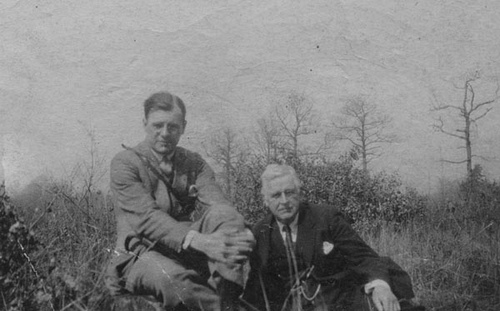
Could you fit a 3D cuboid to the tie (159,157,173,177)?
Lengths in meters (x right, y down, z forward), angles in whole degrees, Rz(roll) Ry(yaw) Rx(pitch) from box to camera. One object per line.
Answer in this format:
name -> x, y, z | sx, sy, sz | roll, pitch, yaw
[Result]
tie -> -1.107, 0.150, 8.031 | 0.162, 0.233, 0.066 | -10, -4, -25
